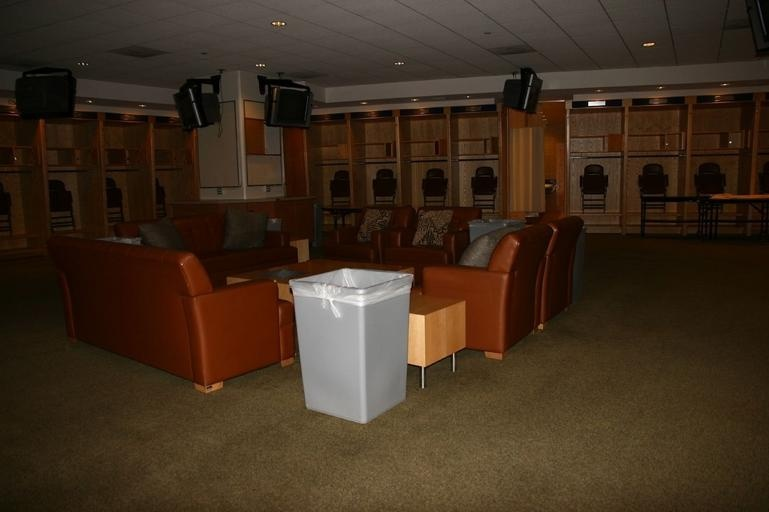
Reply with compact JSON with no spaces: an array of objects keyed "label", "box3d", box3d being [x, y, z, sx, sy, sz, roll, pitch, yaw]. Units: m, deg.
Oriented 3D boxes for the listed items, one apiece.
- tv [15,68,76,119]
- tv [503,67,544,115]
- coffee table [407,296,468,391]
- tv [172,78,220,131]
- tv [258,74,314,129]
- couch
[{"label":"tv","box3d":[-5.303,-2.569,8.639,1.066,0.976,0.367,2,12,8]},{"label":"tv","box3d":[2.624,-3.198,10.578,0.924,0.921,0.746,11,20,30]},{"label":"coffee table","box3d":[0.288,0.770,5.230,0.720,0.714,0.758,1,6,31]},{"label":"tv","box3d":[-3.396,-2.863,10.139,0.559,1.011,0.763,4,12,26]},{"label":"tv","box3d":[-1.884,-2.960,10.459,0.976,0.946,0.567,-3,11,-12]},{"label":"couch","box3d":[-1.894,-0.168,5.328,2.852,1.362,1.400,7,12,35]}]
